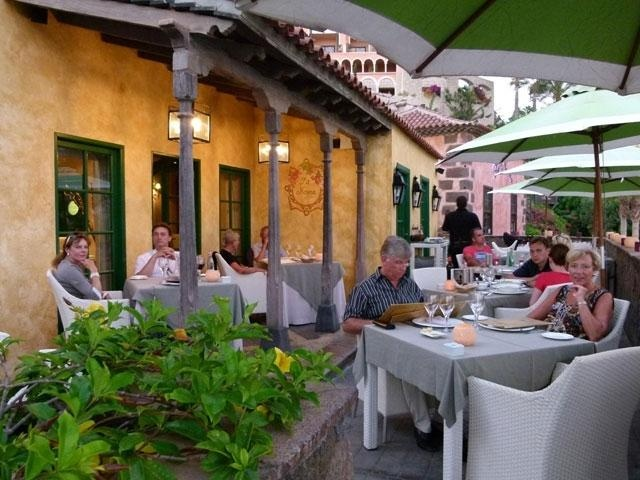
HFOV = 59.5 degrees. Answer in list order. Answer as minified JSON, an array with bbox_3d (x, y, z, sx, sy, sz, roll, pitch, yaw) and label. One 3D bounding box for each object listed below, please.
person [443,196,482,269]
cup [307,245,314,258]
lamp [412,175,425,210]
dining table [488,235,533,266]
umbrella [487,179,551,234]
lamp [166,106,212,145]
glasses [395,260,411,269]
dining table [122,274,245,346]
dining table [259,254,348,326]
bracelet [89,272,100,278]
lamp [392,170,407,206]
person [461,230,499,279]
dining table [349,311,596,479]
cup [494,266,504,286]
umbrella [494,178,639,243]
[{"bbox_3d":[2.251,0.090,8.940,0.568,1.674,0.517,1,-8,14],"label":"person"},{"bbox_3d":[-0.130,0.163,8.001,0.088,0.160,0.043,7,-1,-39],"label":"cup"},{"bbox_3d":[1.924,-0.954,11.055,0.197,0.620,0.512,-2,2,9],"label":"lamp"},{"bbox_3d":[3.289,0.159,9.677,0.537,0.723,0.573,0,-1,-42],"label":"dining table"},{"bbox_3d":[6.663,-1.060,18.989,2.340,1.769,2.024,-1,0,-37],"label":"umbrella"},{"bbox_3d":[-1.454,-1.321,6.277,0.473,0.453,1.198,-3,1,-15],"label":"lamp"},{"bbox_3d":[0.621,0.179,4.112,0.061,0.061,0.172,-1,2,31],"label":"glasses"},{"bbox_3d":[-1.265,0.481,5.063,1.069,0.571,0.956,4,6,40],"label":"dining table"},{"bbox_3d":[-0.095,0.648,7.246,0.761,0.620,0.799,0,-1,11],"label":"dining table"},{"bbox_3d":[-2.143,0.331,5.344,0.102,0.069,0.107,0,-6,-1],"label":"bracelet"},{"bbox_3d":[1.252,-0.850,8.887,0.188,0.602,0.312,-2,2,9],"label":"lamp"},{"bbox_3d":[1.965,0.291,6.818,0.407,0.840,0.416,2,-5,-13],"label":"person"},{"bbox_3d":[0.776,0.703,3.431,0.971,0.642,0.971,-1,1,-33],"label":"dining table"},{"bbox_3d":[1.980,0.404,6.203,0.138,0.224,0.144,-1,6,0],"label":"cup"},{"bbox_3d":[6.752,-0.788,15.488,2.402,1.601,2.495,-2,0,29],"label":"umbrella"}]
